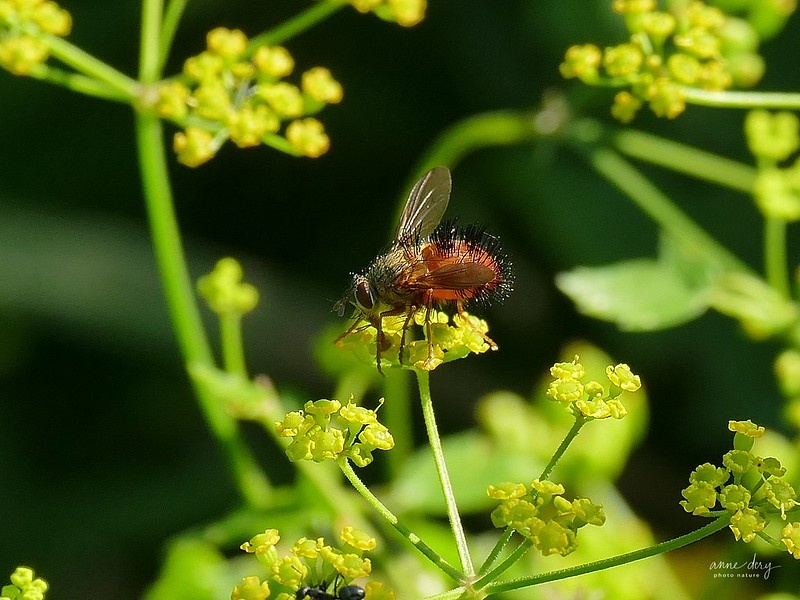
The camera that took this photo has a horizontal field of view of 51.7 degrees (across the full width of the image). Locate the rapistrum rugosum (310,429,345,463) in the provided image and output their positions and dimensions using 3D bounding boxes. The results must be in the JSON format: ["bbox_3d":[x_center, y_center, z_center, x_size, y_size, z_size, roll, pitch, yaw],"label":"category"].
[{"bbox_3d":[-0.112,0.222,1.264,0.054,0.049,0.024,-18,-14,-7],"label":"rapistrum rugosum"}]

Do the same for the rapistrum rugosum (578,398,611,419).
[{"bbox_3d":[0.299,0.168,1.276,0.039,0.030,0.013,7,-3,-9],"label":"rapistrum rugosum"}]

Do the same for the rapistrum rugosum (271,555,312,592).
[{"bbox_3d":[-0.163,0.404,1.218,0.046,0.050,0.034,-26,-15,23],"label":"rapistrum rugosum"}]

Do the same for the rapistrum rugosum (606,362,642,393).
[{"bbox_3d":[0.353,0.125,1.295,0.058,0.057,0.022,7,-40,-4],"label":"rapistrum rugosum"}]

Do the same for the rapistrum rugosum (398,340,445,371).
[{"bbox_3d":[0.035,0.092,1.360,0.060,0.047,0.027,9,-25,31],"label":"rapistrum rugosum"}]

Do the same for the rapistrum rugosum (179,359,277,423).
[{"bbox_3d":[-0.318,0.178,1.592,0.143,0.150,0.023,-17,-15,-12],"label":"rapistrum rugosum"}]

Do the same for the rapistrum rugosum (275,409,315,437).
[{"bbox_3d":[-0.169,0.198,1.316,0.060,0.049,0.091,-17,-13,-11],"label":"rapistrum rugosum"}]

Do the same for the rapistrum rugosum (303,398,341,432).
[{"bbox_3d":[-0.112,0.182,1.322,0.063,0.049,0.061,10,-2,-25],"label":"rapistrum rugosum"}]

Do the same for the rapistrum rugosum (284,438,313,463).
[{"bbox_3d":[-0.154,0.228,1.260,0.042,0.030,0.020,7,9,12],"label":"rapistrum rugosum"}]

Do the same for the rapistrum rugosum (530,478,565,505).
[{"bbox_3d":[0.222,0.296,1.258,0.044,0.020,0.045,2,-17,24],"label":"rapistrum rugosum"}]

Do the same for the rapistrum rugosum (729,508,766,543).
[{"bbox_3d":[0.513,0.338,1.226,0.051,0.051,0.021,-12,-13,-2],"label":"rapistrum rugosum"}]

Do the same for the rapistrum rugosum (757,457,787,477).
[{"bbox_3d":[0.563,0.254,1.250,0.035,0.036,0.013,7,-61,-10],"label":"rapistrum rugosum"}]

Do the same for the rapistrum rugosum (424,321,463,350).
[{"bbox_3d":[0.070,0.060,1.369,0.045,0.043,0.015,-35,-9,-14],"label":"rapistrum rugosum"}]

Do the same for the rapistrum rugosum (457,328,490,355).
[{"bbox_3d":[0.119,0.065,1.384,0.055,0.045,0.017,-14,-16,-22],"label":"rapistrum rugosum"}]

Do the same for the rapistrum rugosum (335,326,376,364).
[{"bbox_3d":[-0.202,0.380,1.238,0.065,0.046,0.054,-9,0,8],"label":"rapistrum rugosum"}]

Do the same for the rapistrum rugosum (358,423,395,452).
[{"bbox_3d":[-0.039,0.218,1.305,0.045,0.043,0.073,-19,-13,-2],"label":"rapistrum rugosum"}]

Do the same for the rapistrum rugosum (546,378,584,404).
[{"bbox_3d":[0.258,0.142,1.289,0.043,0.041,0.018,-52,-28,-33],"label":"rapistrum rugosum"}]

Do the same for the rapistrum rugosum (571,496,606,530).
[{"bbox_3d":[0.274,0.311,1.222,0.050,0.048,0.019,22,-52,5],"label":"rapistrum rugosum"}]

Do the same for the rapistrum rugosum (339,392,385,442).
[{"bbox_3d":[-0.067,0.183,1.327,0.077,0.066,0.061,-7,-56,-47],"label":"rapistrum rugosum"}]

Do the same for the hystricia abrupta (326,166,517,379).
[{"bbox_3d":[0.047,-0.043,1.504,0.256,0.402,0.285,-4,5,4],"label":"hystricia abrupta"}]

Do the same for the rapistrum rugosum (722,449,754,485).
[{"bbox_3d":[0.520,0.251,1.258,0.046,0.039,0.019,-18,-14,-7],"label":"rapistrum rugosum"}]

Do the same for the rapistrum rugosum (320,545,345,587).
[{"bbox_3d":[-0.102,0.395,1.221,0.045,0.042,0.041,-15,-52,-15],"label":"rapistrum rugosum"}]

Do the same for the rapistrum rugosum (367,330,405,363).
[{"bbox_3d":[-0.026,0.078,1.378,0.053,0.048,0.015,-17,0,2],"label":"rapistrum rugosum"}]

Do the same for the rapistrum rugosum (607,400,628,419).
[{"bbox_3d":[0.336,0.174,1.284,0.037,0.033,0.015,-9,-14,-2],"label":"rapistrum rugosum"}]

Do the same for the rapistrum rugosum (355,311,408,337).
[{"bbox_3d":[-0.035,0.041,1.403,0.057,0.052,0.016,-2,-44,16],"label":"rapistrum rugosum"}]

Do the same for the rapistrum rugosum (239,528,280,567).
[{"bbox_3d":[-0.211,0.383,1.264,0.052,0.053,0.091,-17,-13,-12],"label":"rapistrum rugosum"}]

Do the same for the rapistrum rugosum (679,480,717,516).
[{"bbox_3d":[0.451,0.300,1.247,0.054,0.051,0.020,-5,-18,19],"label":"rapistrum rugosum"}]

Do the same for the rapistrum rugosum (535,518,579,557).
[{"bbox_3d":[0.227,0.340,1.183,0.052,0.051,0.017,-25,-11,-11],"label":"rapistrum rugosum"}]
